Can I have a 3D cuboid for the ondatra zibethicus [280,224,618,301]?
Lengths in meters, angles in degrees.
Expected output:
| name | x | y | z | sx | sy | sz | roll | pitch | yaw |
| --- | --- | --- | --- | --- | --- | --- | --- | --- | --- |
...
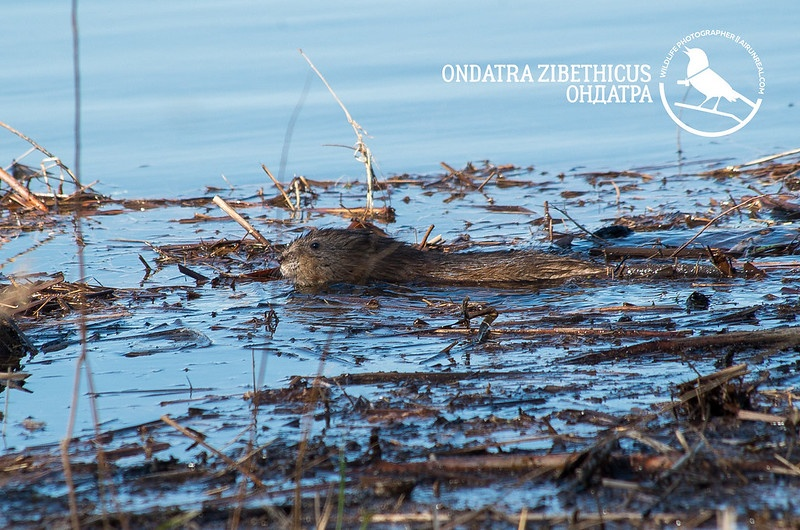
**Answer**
| name | x | y | z | sx | sy | sz | roll | pitch | yaw |
| --- | --- | --- | --- | --- | --- | --- | --- | --- | --- |
| ondatra zibethicus | 0.260 | -0.126 | 9.708 | 3.042 | 0.529 | 0.494 | 14 | 5 | -45 |
